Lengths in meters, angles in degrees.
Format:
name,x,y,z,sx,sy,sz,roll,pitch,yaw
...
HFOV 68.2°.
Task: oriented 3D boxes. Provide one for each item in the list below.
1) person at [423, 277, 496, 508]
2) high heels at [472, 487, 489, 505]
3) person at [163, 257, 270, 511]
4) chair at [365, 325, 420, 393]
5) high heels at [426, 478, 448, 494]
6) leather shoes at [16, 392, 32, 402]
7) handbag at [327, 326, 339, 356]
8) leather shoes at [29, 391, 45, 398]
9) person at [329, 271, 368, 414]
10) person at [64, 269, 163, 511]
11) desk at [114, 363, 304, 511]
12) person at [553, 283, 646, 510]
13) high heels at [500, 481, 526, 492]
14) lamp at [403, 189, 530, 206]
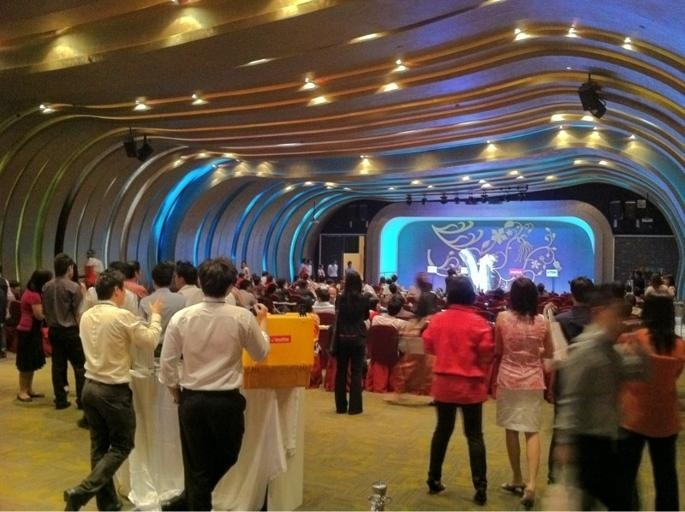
name,x,y,z,sx,sy,sz,roll,pitch,yaw
person,1.014,1.173,4.534,0.619,1.552,0.388,1,0,15
high heels,1.198,2.092,4.381,0.074,0.072,0.168,0,-13,6
person,-0.899,0.890,3.564,0.737,1.703,0.337,1,0,-12
chair,0.697,1.700,8.253,0.814,1.003,0.759,9,-7,-24
high heels,0.852,2.111,4.615,0.159,0.157,0.100,-1,2,-8
leather shoes,-4.546,2.026,7.230,0.260,0.105,0.098,0,-4,27
handbag,-0.139,1.147,6.889,0.104,0.337,0.380,1,0,-4
leather shoes,-4.431,2.016,7.356,0.213,0.131,0.070,2,0,-21
person,0.091,1.175,6.798,0.474,1.666,0.479,1,0,1
person,-1.846,1.060,4.086,0.664,2.028,0.374,1,0,-23
desk,-1.103,1.678,4.594,1.857,1.286,1.038,0,-5,2
person,1.492,0.849,3.048,0.515,0.890,0.278,1,0,-16
high heels,1.580,2.126,4.662,0.092,0.076,0.176,4,-2,-34
lamp,5.798,-2.664,22.984,4.993,0.738,0.606,-2,-1,31
